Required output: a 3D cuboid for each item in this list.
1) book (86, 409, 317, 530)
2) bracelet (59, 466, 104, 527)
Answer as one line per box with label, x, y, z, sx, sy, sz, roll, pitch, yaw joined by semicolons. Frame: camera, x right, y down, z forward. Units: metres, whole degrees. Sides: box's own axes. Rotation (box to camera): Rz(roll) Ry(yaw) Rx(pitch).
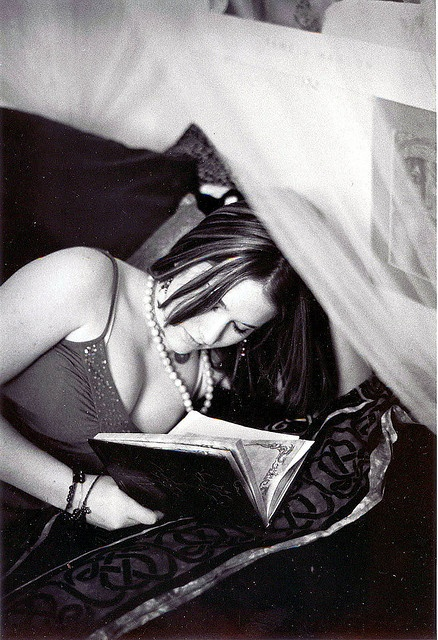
book;-0.035;0.214;1.074;0.252;0.245;0.103;6;99;21
bracelet;-0.249;0.314;1.161;0.071;0.032;0.090;29;84;-17
